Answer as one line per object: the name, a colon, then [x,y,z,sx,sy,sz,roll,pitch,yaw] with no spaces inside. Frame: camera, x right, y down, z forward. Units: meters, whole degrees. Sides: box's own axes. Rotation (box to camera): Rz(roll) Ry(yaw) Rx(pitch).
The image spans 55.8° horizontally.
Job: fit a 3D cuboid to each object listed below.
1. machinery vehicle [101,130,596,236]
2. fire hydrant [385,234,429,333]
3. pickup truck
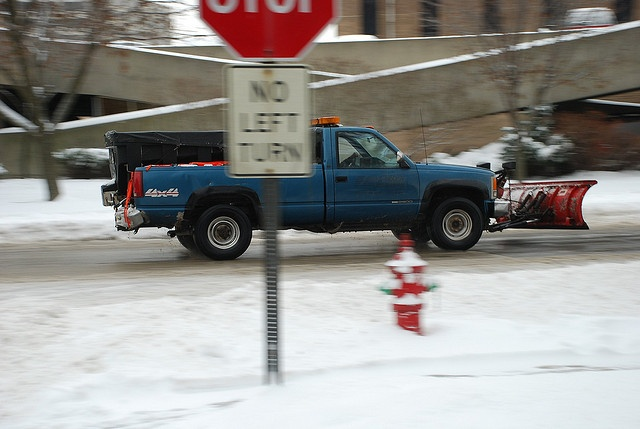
machinery vehicle: [0.117,-0.538,12.639,7.642,1.495,2.624,-1,6,-2]
fire hydrant: [1.091,0.856,7.471,0.501,1.183,0.434,3,13,25]
pickup truck: [-0.472,-0.549,12.153,7.211,2.745,2.149,-3,10,-13]
